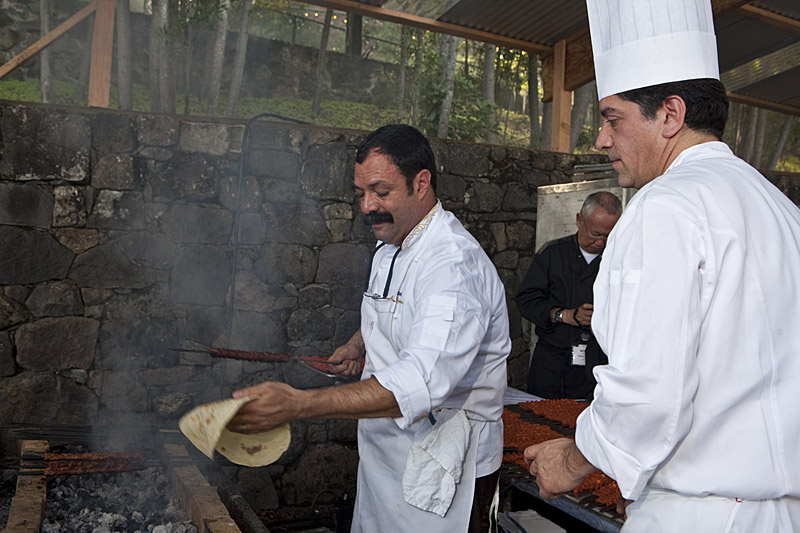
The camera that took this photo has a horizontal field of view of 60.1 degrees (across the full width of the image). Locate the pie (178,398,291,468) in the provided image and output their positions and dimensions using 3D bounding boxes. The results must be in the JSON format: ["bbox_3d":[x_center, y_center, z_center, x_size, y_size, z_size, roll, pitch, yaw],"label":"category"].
[{"bbox_3d":[-0.812,0.805,3.473,0.373,0.408,0.448,7,6,41],"label":"pie"}]
